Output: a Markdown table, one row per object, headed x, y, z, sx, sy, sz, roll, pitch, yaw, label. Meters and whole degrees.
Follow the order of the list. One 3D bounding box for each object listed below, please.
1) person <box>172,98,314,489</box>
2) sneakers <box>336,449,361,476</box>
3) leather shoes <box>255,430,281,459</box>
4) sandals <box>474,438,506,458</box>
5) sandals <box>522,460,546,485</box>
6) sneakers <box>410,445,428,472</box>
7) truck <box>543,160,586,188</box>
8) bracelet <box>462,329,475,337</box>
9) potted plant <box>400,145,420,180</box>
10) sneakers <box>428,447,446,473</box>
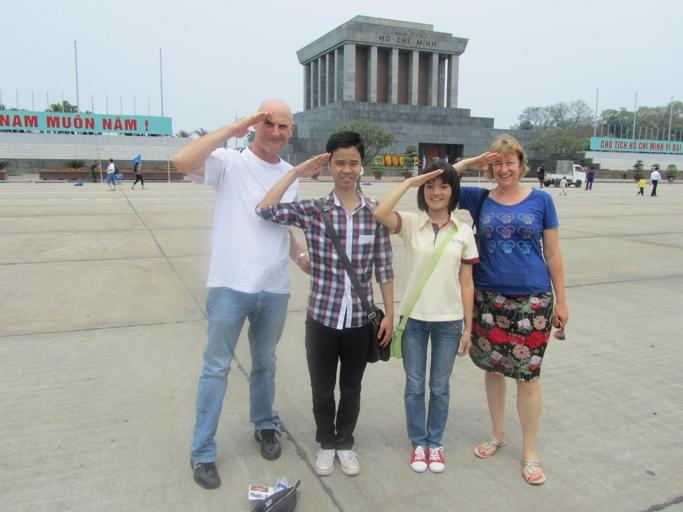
| x | y | z | sx | sy | sz | roll | pitch | yaw | label |
| --- | --- | --- | --- | --- | --- | --- | --- | --- | --- |
| -0.698 | 0.223 | 3.875 | 0.859 | 2.568 | 0.685 | -5 | 13 | -24 | person |
| 0.052 | 1.478 | 3.908 | 0.079 | 0.088 | 0.216 | 1 | 0 | -21 | sneakers |
| -0.541 | 1.390 | 4.073 | 0.094 | 0.109 | 0.262 | -4 | 10 | -23 | leather shoes |
| 1.105 | 1.434 | 4.115 | 0.214 | 0.089 | 0.094 | -3 | 16 | -22 | sandals |
| 1.354 | 1.517 | 3.859 | 0.165 | 0.104 | 0.177 | 0 | 13 | -5 | sandals |
| 0.552 | 1.460 | 3.954 | 0.130 | 0.130 | 0.150 | 3 | 13 | 8 | sneakers |
| 16.345 | -5.915 | 39.838 | 3.075 | 1.914 | 1.639 | -3 | 12 | -5 | truck |
| 0.918 | 0.569 | 4.032 | 0.047 | 0.033 | 0.062 | 3 | -5 | -15 | bracelet |
| 6.968 | -9.484 | 56.090 | 1.847 | 3.325 | 1.793 | -1 | 14 | -27 | potted plant |
| 0.676 | 1.467 | 3.910 | 0.074 | 0.075 | 0.198 | -2 | -1 | 0 | sneakers |
